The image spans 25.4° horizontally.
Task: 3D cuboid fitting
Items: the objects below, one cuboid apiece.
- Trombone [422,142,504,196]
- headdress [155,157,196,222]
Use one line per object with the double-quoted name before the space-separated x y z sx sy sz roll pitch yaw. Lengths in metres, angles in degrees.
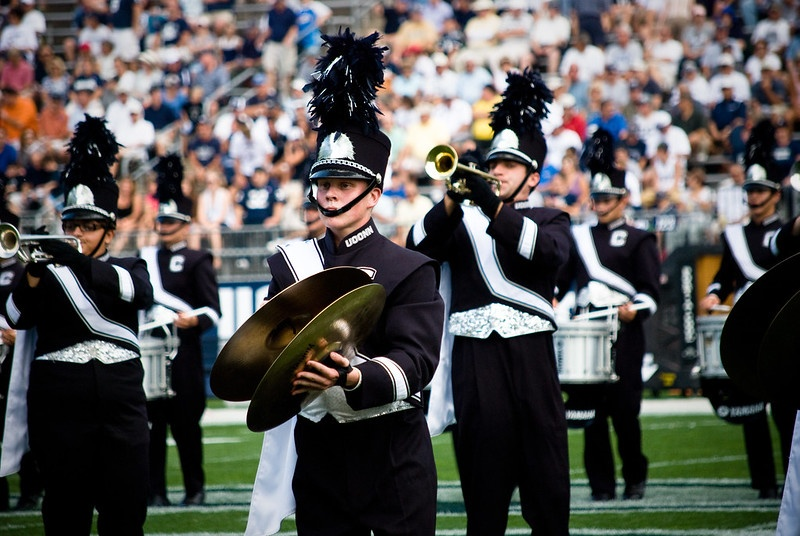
"Trombone" 0.577 -1.000 18.298 0.378 0.421 0.844 35 11 38
"headdress" -2.755 -0.900 20.914 0.473 0.701 0.298 -27 26 -38
